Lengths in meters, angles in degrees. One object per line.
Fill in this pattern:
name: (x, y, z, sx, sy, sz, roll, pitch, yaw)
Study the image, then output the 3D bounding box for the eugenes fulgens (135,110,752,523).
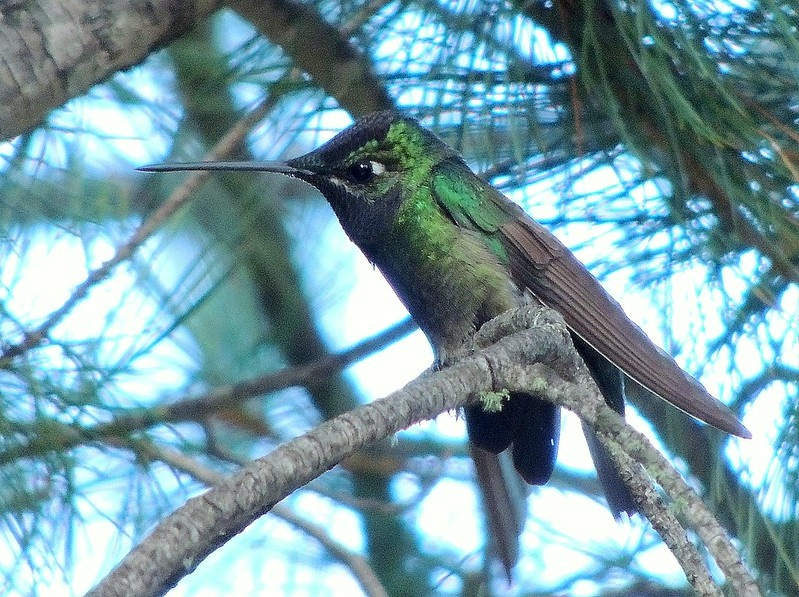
eugenes fulgens: (0.160, -0.083, 3.457, 1.682, 0.887, 0.445, 6, -16, -5)
